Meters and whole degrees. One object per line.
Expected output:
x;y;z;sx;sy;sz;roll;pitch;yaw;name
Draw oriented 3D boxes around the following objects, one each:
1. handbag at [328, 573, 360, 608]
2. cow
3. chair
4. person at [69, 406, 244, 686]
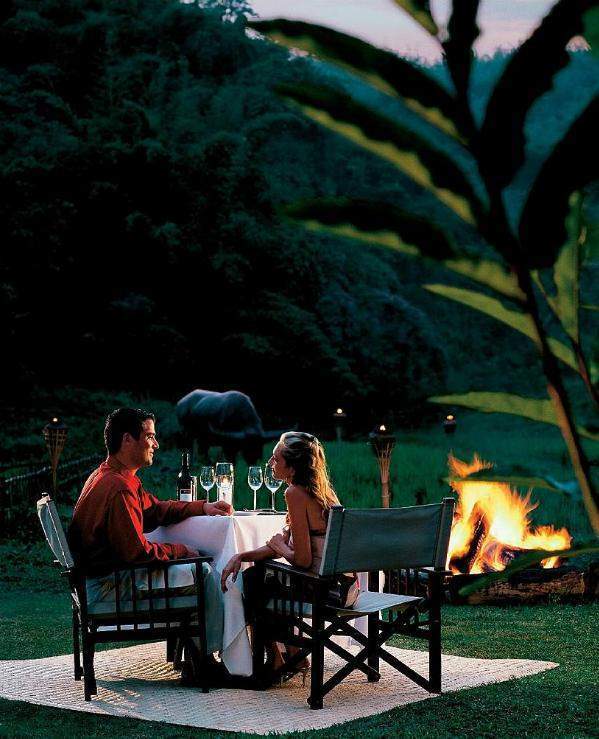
0.165;0.786;3.122;0.059;0.069;0.165;6;2;10;handbag
-0.637;0.522;8.052;0.584;0.489;0.890;4;-4;-41;cow
-0.306;0.829;3.386;1.395;0.720;0.770;-6;-7;41;chair
-0.596;0.697;3.492;0.693;1.043;0.477;2;0;-22;person
